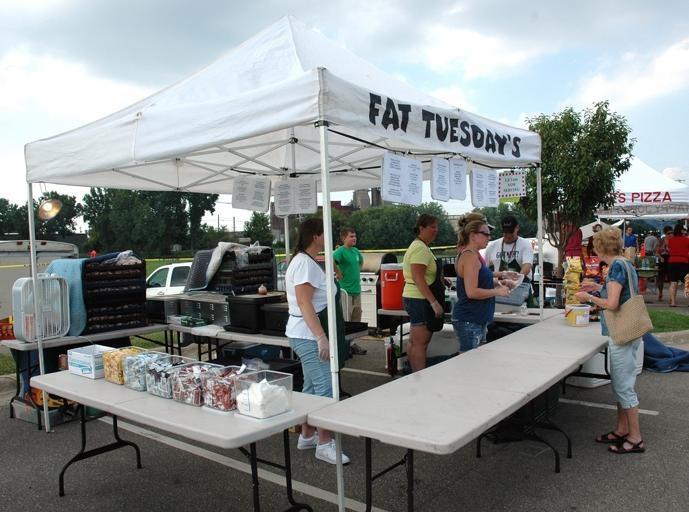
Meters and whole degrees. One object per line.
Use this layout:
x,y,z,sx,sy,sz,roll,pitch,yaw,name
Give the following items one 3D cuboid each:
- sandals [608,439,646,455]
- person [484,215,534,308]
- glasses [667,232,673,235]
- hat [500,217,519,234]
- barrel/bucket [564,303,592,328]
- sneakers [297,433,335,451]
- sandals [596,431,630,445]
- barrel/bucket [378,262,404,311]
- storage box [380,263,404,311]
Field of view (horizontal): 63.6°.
2.698,1.815,5.272,0.274,0.121,0.157,0,-4,22,sandals
2.008,0.100,6.987,0.647,1.129,0.782,-1,12,14,person
8.306,-0.561,14.138,0.094,0.047,0.127,2,11,24,glasses
2.080,-0.422,6.953,0.167,0.134,0.238,2,35,33,hat
2.530,0.645,6.009,0.223,0.180,0.230,0,2,0,barrel/bucket
-0.267,1.841,5.491,0.438,0.194,0.184,-1,0,-5,sneakers
2.627,1.799,5.460,0.254,0.098,0.105,-1,-2,36,sandals
0.635,0.404,7.104,0.353,0.562,0.379,-1,1,0,barrel/bucket
0.602,0.405,7.113,0.340,0.549,0.358,0,0,-12,storage box
